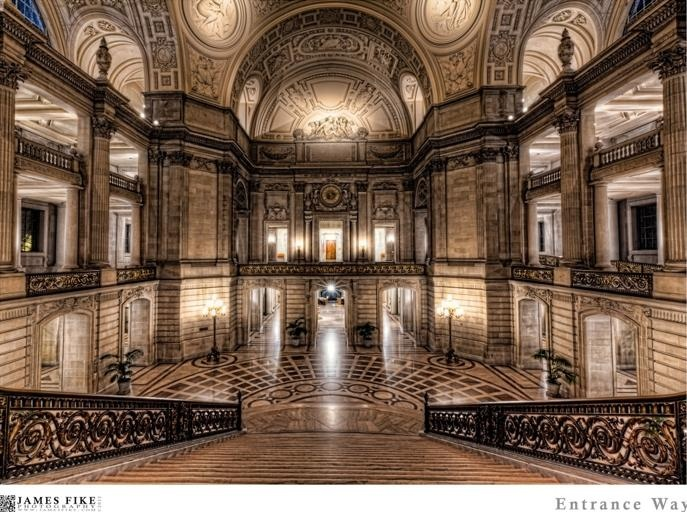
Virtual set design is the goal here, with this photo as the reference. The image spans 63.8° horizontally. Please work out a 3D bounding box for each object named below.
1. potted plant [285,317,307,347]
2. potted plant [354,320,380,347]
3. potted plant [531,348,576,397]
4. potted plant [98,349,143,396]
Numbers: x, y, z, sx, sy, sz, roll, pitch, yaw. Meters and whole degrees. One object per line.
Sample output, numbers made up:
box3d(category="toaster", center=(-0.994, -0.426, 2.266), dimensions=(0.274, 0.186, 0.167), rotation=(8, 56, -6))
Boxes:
box3d(category="potted plant", center=(-2.394, 3.860, 28.192), dimensions=(1.205, 1.553, 1.114), rotation=(0, -10, -4))
box3d(category="potted plant", center=(1.169, 3.922, 28.261), dimensions=(1.216, 1.523, 1.061), rotation=(0, -5, -4))
box3d(category="potted plant", center=(8.127, 4.588, 21.486), dimensions=(1.416, 1.943, 1.657), rotation=(5, -13, -17))
box3d(category="potted plant", center=(-8.901, 4.773, 22.122), dimensions=(1.484, 1.389, 1.590), rotation=(-2, -7, -7))
